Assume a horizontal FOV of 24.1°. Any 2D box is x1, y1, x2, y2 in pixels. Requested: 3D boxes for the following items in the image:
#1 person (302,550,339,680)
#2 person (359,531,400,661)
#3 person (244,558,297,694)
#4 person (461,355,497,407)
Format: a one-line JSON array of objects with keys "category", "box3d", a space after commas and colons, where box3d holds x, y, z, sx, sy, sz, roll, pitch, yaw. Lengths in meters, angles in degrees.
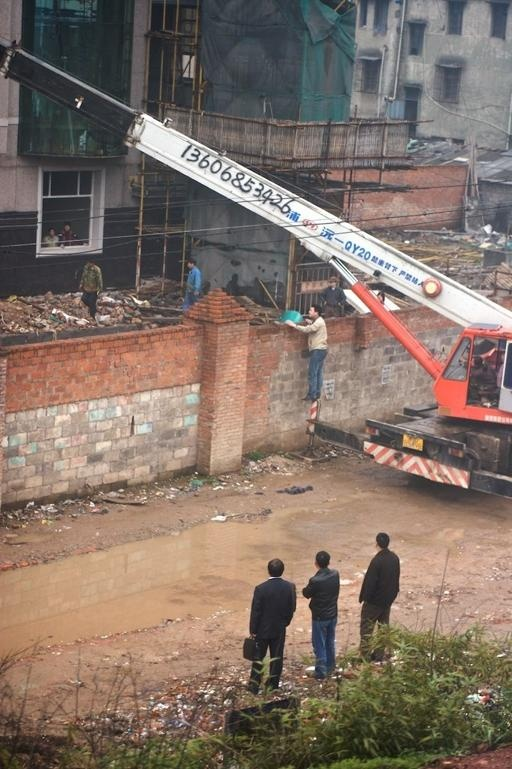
[{"category": "person", "box3d": [0.642, 2.230, 11.738, 0.363, 1.280, 0.505, 5, 13, 4]}, {"category": "person", "box3d": [1.228, 2.152, 12.009, 0.375, 1.262, 0.957, 5, 12, 7]}, {"category": "person", "box3d": [0.134, 2.303, 11.249, 0.400, 1.258, 0.673, 5, 12, 6]}, {"category": "person", "box3d": [3.340, -0.044, 17.523, 0.428, 0.751, 0.272, 5, 13, 6]}]
